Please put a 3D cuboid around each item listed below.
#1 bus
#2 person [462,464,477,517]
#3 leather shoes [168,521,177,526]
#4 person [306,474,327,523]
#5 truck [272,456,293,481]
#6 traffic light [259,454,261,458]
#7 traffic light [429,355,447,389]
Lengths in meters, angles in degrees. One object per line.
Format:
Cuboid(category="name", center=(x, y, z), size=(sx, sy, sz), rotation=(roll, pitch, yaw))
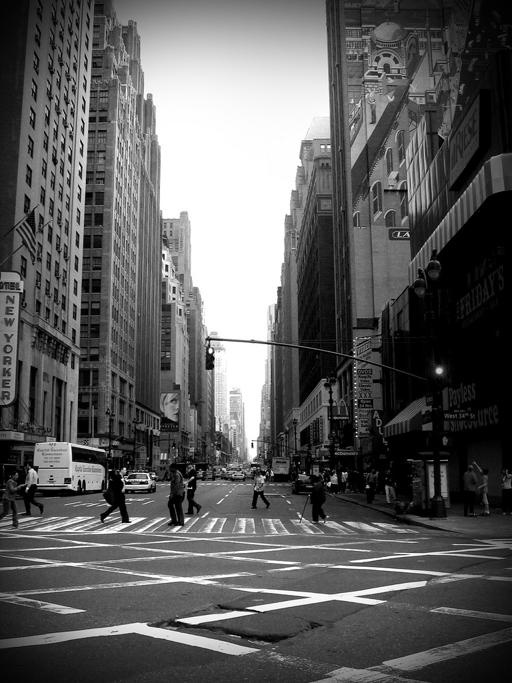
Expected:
Cuboid(category="bus", center=(-10.729, 8.115, 45.656), size=(1.545, 2.708, 5.733), rotation=(-13, -15, 8))
Cuboid(category="person", center=(7.280, 5.117, 25.156), size=(0.421, 1.739, 1.680), rotation=(-2, -13, 16))
Cuboid(category="leather shoes", center=(-2.421, 5.251, 21.182), size=(0.215, 0.116, 0.416), rotation=(14, -21, -40))
Cuboid(category="person", center=(1.949, 4.961, 23.090), size=(0.455, 1.540, 2.103), rotation=(0, -14, 5))
Cuboid(category="truck", center=(2.919, 14.901, 86.078), size=(1.996, 2.838, 2.997), rotation=(2, -13, -5))
Cuboid(category="traffic light", center=(1.797, 44.544, 285.487), size=(0.738, 2.441, 0.984), rotation=(0, -2, -10))
Cuboid(category="traffic light", center=(6.664, 1.092, 27.068), size=(0.583, 1.128, 1.588), rotation=(-1, 27, 8))
